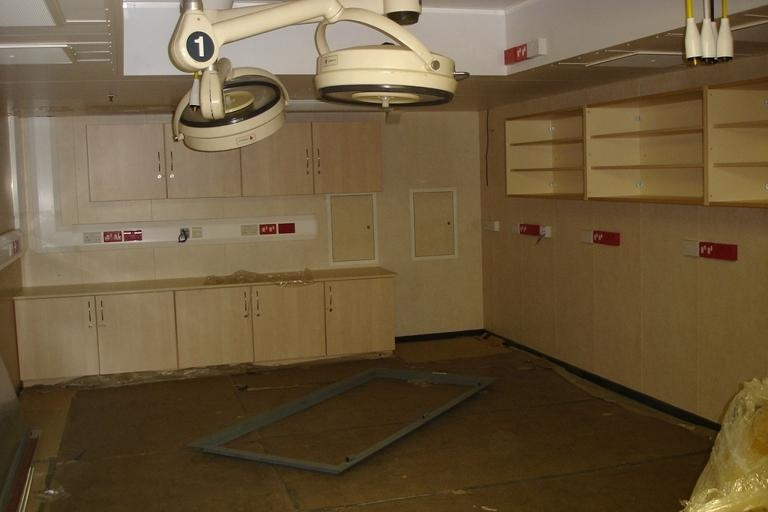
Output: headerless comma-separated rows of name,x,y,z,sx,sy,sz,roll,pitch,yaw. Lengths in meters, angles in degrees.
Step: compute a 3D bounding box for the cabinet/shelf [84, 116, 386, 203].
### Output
cabinet/shelf,-1.669,-1.122,6.729,3.375,0.795,0.497,-1,5,-3
